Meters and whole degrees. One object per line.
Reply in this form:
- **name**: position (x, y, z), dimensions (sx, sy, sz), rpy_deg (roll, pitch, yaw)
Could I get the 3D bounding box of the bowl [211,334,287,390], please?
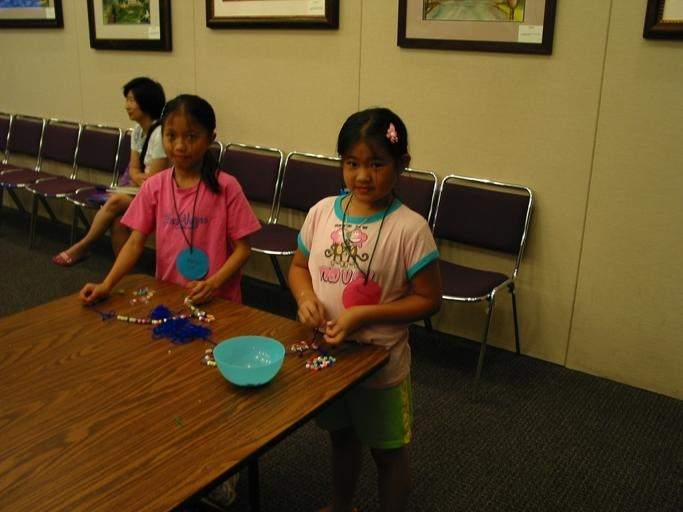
- **bowl**: position (-0.251, 0.308, 1.410), dimensions (0.205, 0.110, 0.223), rpy_deg (-2, -10, 0)
